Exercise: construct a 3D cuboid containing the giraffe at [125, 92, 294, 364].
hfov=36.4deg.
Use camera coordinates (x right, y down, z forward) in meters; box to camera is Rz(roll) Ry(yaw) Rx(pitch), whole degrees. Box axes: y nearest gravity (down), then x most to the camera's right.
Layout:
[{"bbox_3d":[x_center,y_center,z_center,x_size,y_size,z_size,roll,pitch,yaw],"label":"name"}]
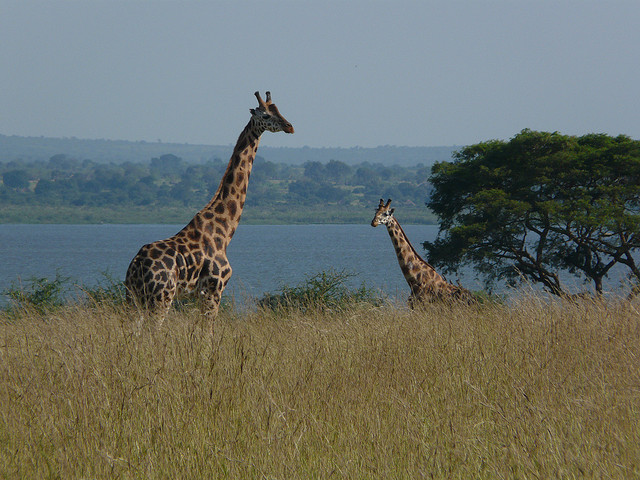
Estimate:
[{"bbox_3d":[-1.955,-0.443,16.300,2.171,4.359,4.027,6,7,-6],"label":"giraffe"}]
